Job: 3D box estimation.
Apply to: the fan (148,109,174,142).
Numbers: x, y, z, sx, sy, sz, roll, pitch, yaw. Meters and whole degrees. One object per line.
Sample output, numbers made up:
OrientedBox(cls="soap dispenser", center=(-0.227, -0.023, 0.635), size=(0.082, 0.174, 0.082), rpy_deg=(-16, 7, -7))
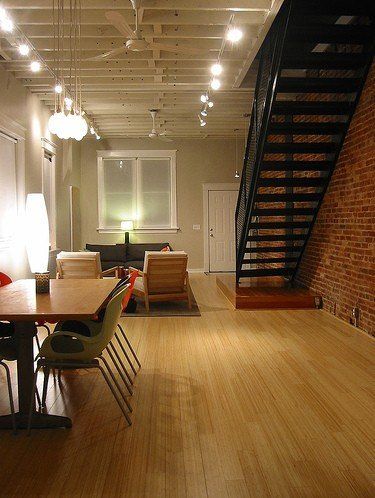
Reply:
OrientedBox(cls="fan", center=(-0.750, -2.886, 7.996), size=(0.557, 0.596, 0.751), rpy_deg=(12, 20, 37))

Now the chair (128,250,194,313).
OrientedBox(cls="chair", center=(-0.417, 0.431, 5.153), size=(0.664, 0.945, 0.983), rpy_deg=(-1, 3, -14))

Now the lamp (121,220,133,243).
OrientedBox(cls="lamp", center=(-1.615, -0.494, 9.350), size=(0.313, 0.606, 0.471), rpy_deg=(-1, 0, -10))

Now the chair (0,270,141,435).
OrientedBox(cls="chair", center=(-0.706, 0.528, 2.016), size=(0.798, 0.573, 0.907), rpy_deg=(-1, 5, -2))

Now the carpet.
OrientedBox(cls="carpet", center=(-0.389, 0.725, 4.971), size=(0.605, 0.310, 0.649), rpy_deg=(1, -3, -12))

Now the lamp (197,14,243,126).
OrientedBox(cls="lamp", center=(0.375, -2.306, 4.792), size=(0.198, 1.458, 0.369), rpy_deg=(10, 47, -5))
